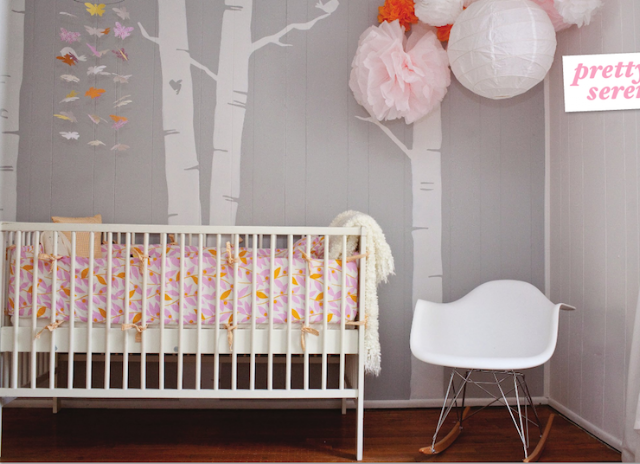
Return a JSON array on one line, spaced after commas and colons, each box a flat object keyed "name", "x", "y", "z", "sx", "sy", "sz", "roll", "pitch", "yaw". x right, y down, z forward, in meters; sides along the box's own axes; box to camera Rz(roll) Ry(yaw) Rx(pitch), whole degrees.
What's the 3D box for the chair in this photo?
[{"name": "chair", "x": 1.023, "y": 0.730, "z": 4.234, "sx": 0.928, "sy": 1.069, "sz": 0.904, "roll": -2, "pitch": -11, "yaw": 24}]
